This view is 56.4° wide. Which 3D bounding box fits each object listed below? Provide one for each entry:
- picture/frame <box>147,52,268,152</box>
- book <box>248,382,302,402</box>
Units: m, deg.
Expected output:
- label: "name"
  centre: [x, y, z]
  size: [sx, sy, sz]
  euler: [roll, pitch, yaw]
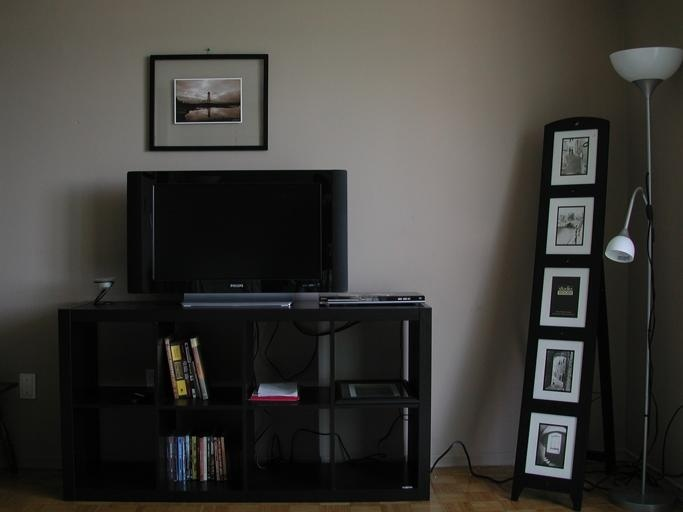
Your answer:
- label: "picture/frame"
  centre: [-0.774, -0.902, 3.719]
  size: [0.701, 0.589, 0.033]
  euler: [-5, 35, -19]
- label: "book"
  centre: [-0.363, 0.739, 3.511]
  size: [0.266, 0.048, 0.260]
  euler: [1, 5, -4]
